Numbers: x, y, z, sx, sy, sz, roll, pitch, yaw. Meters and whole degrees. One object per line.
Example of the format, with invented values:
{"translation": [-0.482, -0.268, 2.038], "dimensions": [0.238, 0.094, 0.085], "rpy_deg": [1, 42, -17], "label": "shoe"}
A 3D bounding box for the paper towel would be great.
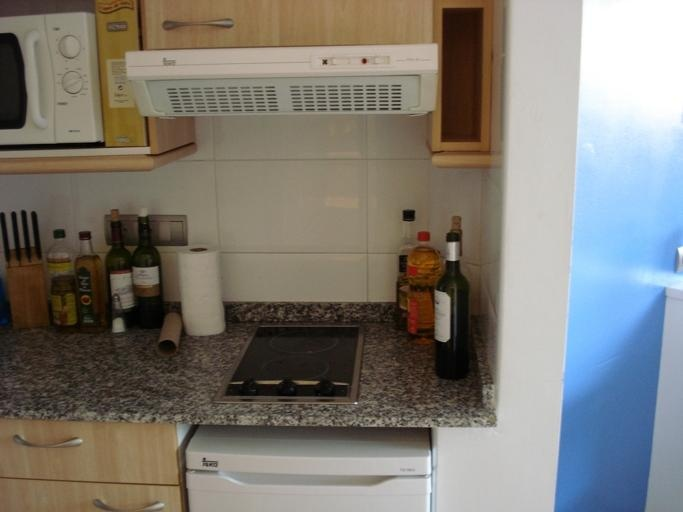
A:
{"translation": [-0.489, 0.130, 2.142], "dimensions": [0.142, 0.307, 0.065], "rpy_deg": [-5, 10, -16], "label": "paper towel"}

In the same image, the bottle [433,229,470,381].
{"translation": [0.326, 0.149, 1.811], "dimensions": [0.100, 0.448, 0.084], "rpy_deg": [-2, 9, 5], "label": "bottle"}

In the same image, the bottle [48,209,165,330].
{"translation": [-0.812, 0.040, 2.237], "dimensions": [0.303, 0.429, 0.201], "rpy_deg": [-4, 9, -10], "label": "bottle"}

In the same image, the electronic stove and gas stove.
{"translation": [-0.138, 0.336, 2.010], "dimensions": [0.414, 0.095, 0.527], "rpy_deg": [-2, 10, 4], "label": "electronic stove and gas stove"}
